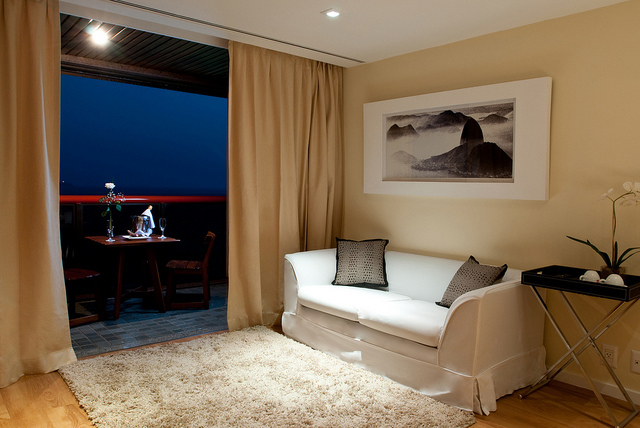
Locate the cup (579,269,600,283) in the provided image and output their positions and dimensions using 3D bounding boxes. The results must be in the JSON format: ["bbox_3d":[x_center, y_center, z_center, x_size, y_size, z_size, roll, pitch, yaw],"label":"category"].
[{"bbox_3d":[2.218,0.511,3.658,0.141,0.084,0.219,7,12,33],"label":"cup"}]

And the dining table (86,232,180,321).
[{"bbox_3d":[-2.425,0.789,5.794,1.022,1.011,1.019,-2,1,-33],"label":"dining table"}]

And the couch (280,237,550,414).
[{"bbox_3d":[0.881,0.945,4.384,2.337,1.053,1.127,9,13,39],"label":"couch"}]

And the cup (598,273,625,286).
[{"bbox_3d":[2.355,0.521,3.561,0.166,0.073,0.167,1,10,0],"label":"cup"}]

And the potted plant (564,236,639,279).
[{"bbox_3d":[2.494,0.377,3.845,0.407,0.221,0.411,0,1,33],"label":"potted plant"}]

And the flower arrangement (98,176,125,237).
[{"bbox_3d":[-2.784,-0.066,5.968,0.334,0.744,0.820,-4,11,-25],"label":"flower arrangement"}]

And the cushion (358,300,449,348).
[{"bbox_3d":[0.794,0.966,4.101,0.821,0.224,0.445,8,12,36],"label":"cushion"}]
